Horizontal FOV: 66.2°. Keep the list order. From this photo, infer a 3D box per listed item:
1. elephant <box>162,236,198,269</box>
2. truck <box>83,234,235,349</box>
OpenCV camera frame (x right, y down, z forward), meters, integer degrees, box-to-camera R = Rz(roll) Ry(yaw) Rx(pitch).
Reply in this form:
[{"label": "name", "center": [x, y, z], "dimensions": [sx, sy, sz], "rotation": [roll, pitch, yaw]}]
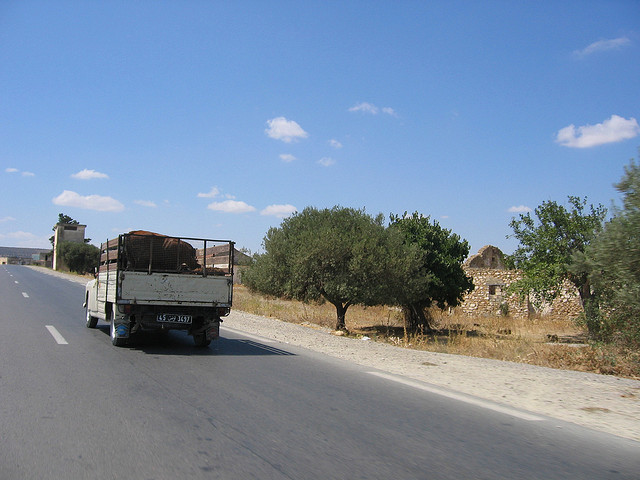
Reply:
[{"label": "elephant", "center": [-3.833, 0.357, 13.064], "dimensions": [0.934, 1.061, 0.708], "rotation": [-2, 5, -26]}, {"label": "truck", "center": [-4.977, 1.206, 14.591], "dimensions": [3.058, 2.832, 5.542], "rotation": [7, -2, -29]}]
